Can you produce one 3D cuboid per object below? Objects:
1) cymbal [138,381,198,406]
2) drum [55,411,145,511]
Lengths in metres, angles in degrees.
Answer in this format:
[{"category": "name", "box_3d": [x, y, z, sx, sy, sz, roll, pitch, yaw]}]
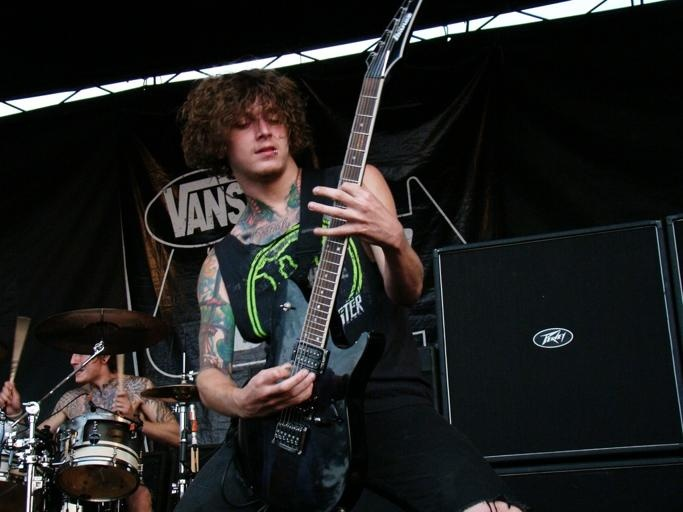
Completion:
[{"category": "cymbal", "box_3d": [-1.416, 1.149, 5.836, 0.554, 0.096, 0.513, -8, -27, 31]}, {"category": "drum", "box_3d": [-1.943, 1.575, 5.595, 0.758, 0.491, 0.722, -1, -36, -1]}]
